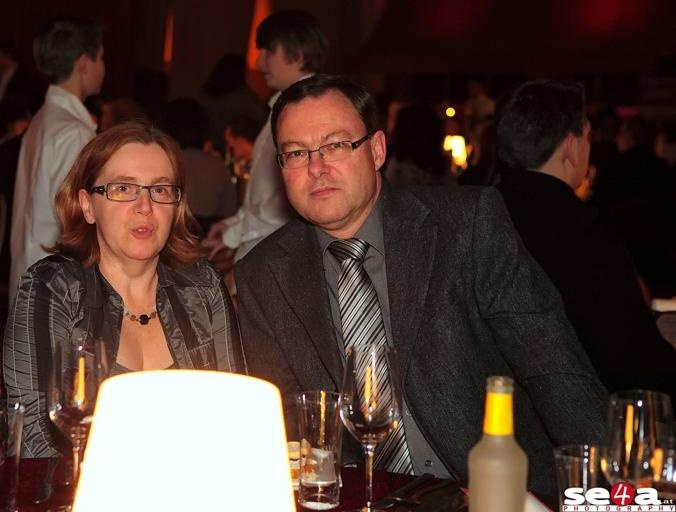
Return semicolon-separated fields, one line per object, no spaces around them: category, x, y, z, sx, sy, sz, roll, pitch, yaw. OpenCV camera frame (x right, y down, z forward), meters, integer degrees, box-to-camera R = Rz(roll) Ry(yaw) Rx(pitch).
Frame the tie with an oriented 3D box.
tie;0.092;0.268;2.134;0.163;0.804;0.138;-11;-15;15

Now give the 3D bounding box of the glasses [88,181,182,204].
glasses;-0.698;-0.211;2.413;0.294;0.078;0.092;1;-6;-22
